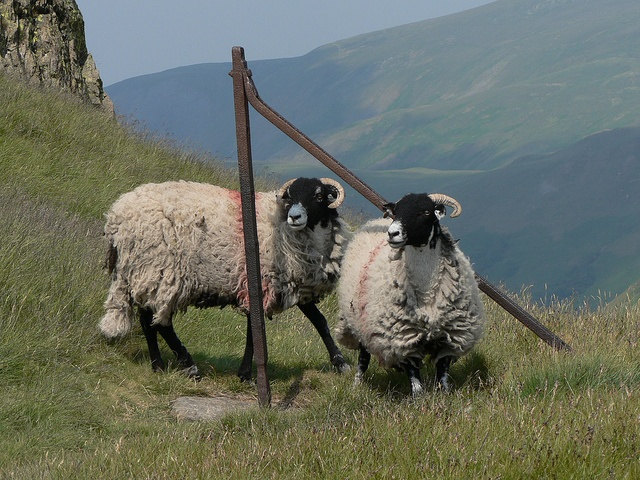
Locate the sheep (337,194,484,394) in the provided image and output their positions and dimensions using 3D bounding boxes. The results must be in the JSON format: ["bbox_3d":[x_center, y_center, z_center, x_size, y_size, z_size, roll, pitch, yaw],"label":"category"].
[{"bbox_3d":[1.211,0.660,13.509,1.894,2.592,1.024,0,11,27],"label":"sheep"}]
